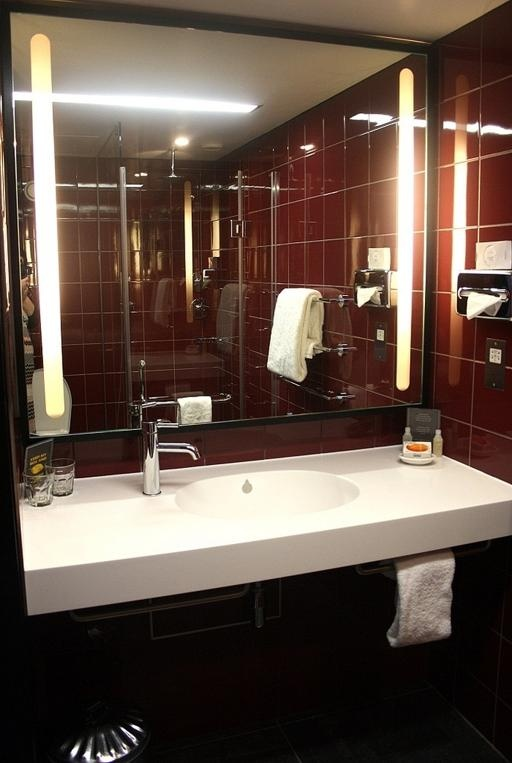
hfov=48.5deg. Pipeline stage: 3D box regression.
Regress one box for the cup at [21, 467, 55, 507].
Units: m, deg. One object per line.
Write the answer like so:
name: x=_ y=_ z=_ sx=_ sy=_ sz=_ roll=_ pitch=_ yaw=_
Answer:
cup: x=-0.523 y=0.248 z=1.369 sx=0.070 sy=0.092 sz=0.071 roll=2 pitch=3 yaw=0

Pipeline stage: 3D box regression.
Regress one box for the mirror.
mirror: x=-0.117 y=-0.457 z=1.491 sx=0.929 sy=0.976 sz=0.014 roll=-3 pitch=6 yaw=-21

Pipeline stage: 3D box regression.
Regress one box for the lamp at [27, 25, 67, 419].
lamp: x=-0.491 y=-0.347 z=1.330 sx=0.049 sy=0.865 sz=0.056 roll=-3 pitch=10 yaw=-18

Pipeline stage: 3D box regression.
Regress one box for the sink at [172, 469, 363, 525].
sink: x=0.023 y=0.325 z=1.547 sx=0.470 sy=0.121 sz=0.176 roll=-1 pitch=11 yaw=-7

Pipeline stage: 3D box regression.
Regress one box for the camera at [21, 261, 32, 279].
camera: x=-0.548 y=-0.265 z=1.359 sx=0.013 sy=0.025 sz=0.037 roll=12 pitch=41 yaw=-41

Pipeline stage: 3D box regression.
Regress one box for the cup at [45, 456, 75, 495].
cup: x=-0.487 y=0.232 z=1.445 sx=0.072 sy=0.097 sz=0.074 roll=0 pitch=6 yaw=0
